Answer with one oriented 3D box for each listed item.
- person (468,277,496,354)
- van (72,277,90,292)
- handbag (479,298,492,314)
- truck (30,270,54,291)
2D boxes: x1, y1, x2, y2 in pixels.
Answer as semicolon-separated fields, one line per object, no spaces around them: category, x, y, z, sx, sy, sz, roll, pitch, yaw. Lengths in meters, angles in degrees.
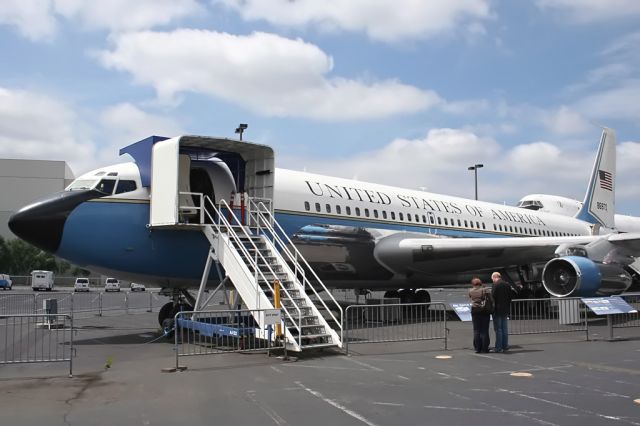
person;4.666;3.004;17.032;0.619;2.158;0.585;-1;-9;10
van;-25.848;7.854;63.905;1.748;1.235;2.835;2;1;-18
handbag;4.719;2.710;16.819;0.496;0.514;0.295;2;-8;-16
truck;-29.425;7.334;62.785;1.859;1.553;2.917;1;-4;-12
